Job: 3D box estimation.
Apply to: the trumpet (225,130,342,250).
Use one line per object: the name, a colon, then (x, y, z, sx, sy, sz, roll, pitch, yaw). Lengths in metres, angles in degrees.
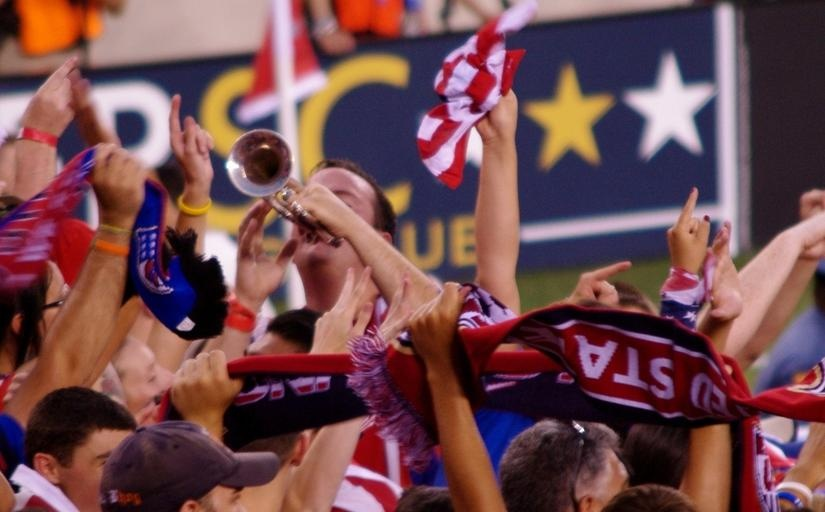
trumpet: (-0.699, -0.365, 8.349, 0.377, 0.366, 0.759, 1, -18, 17)
